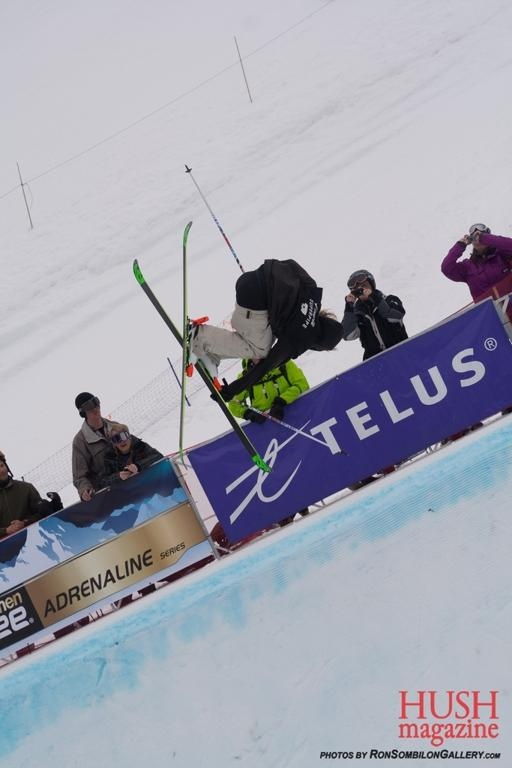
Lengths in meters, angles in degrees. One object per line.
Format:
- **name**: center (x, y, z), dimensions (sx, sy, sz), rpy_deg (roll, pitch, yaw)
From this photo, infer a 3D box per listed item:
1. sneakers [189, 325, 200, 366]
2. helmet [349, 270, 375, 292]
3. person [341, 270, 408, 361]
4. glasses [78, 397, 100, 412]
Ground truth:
- **sneakers**: center (-0.554, -0.335, 7.059), dimensions (0.101, 0.288, 0.137), rpy_deg (3, -3, -34)
- **helmet**: center (1.000, -0.981, 7.771), dimensions (0.192, 0.177, 0.229), rpy_deg (-23, -29, 16)
- **person**: center (1.094, -0.669, 7.640), dimensions (0.555, 0.763, 0.386), rpy_deg (-20, 9, 38)
- **glasses**: center (-1.577, 0.198, 7.667), dimensions (0.133, 0.059, 0.158), rpy_deg (-33, 6, -39)
